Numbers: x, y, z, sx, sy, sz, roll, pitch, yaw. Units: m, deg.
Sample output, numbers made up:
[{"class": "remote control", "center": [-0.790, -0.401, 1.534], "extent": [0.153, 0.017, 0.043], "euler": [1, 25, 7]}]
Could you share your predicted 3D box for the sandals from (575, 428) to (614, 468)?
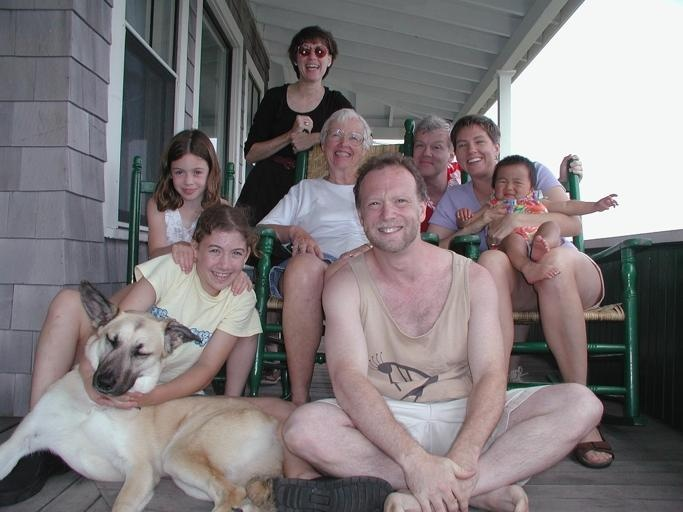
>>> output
[{"class": "sandals", "center": [1.239, 0.934, 2.713], "extent": [0.152, 0.090, 0.362], "euler": [-5, 7, 10]}]

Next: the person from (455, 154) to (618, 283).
[{"class": "person", "center": [1.112, -0.235, 3.139], "extent": [0.938, 0.695, 1.134], "euler": [-1, 11, 10]}]

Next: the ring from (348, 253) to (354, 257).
[{"class": "ring", "center": [0.047, -0.005, 2.730], "extent": [0.015, 0.014, 0.031], "euler": [10, 2, 10]}]

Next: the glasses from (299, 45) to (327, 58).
[{"class": "glasses", "center": [-0.219, -1.533, 4.093], "extent": [0.211, 0.084, 0.050], "euler": [2, 2, -3]}]

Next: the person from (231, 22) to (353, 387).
[{"class": "person", "center": [-0.437, -0.669, 4.361], "extent": [0.807, 2.256, 0.774], "euler": [13, 18, 10]}]

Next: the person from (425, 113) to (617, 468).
[{"class": "person", "center": [1.043, 0.021, 3.265], "extent": [0.792, 2.087, 1.232], "euler": [-9, -6, 7]}]
